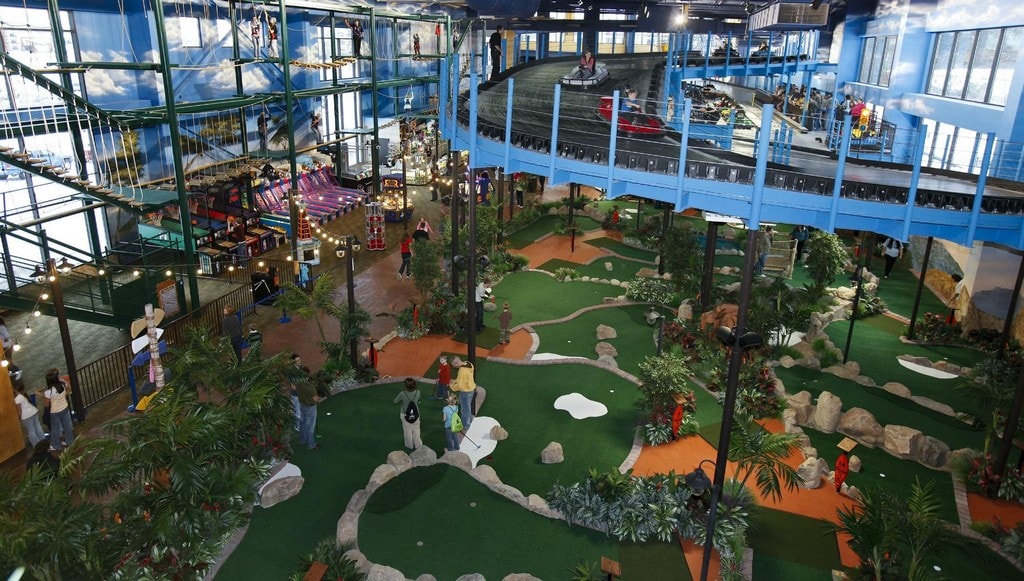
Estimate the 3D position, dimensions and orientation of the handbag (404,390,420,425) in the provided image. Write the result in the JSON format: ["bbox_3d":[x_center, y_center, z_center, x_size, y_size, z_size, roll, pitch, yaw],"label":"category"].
[{"bbox_3d":[-3.849,4.521,25.371,0.535,1.257,0.525,1,25,-3],"label":"handbag"}]

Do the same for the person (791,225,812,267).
[{"bbox_3d":[16.455,-2.445,37.591,0.939,2.751,1.077,5,42,23],"label":"person"}]

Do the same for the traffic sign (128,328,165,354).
[{"bbox_3d":[-15.102,2.123,27.576,1.116,1.291,0.836,3,24,1],"label":"traffic sign"}]
